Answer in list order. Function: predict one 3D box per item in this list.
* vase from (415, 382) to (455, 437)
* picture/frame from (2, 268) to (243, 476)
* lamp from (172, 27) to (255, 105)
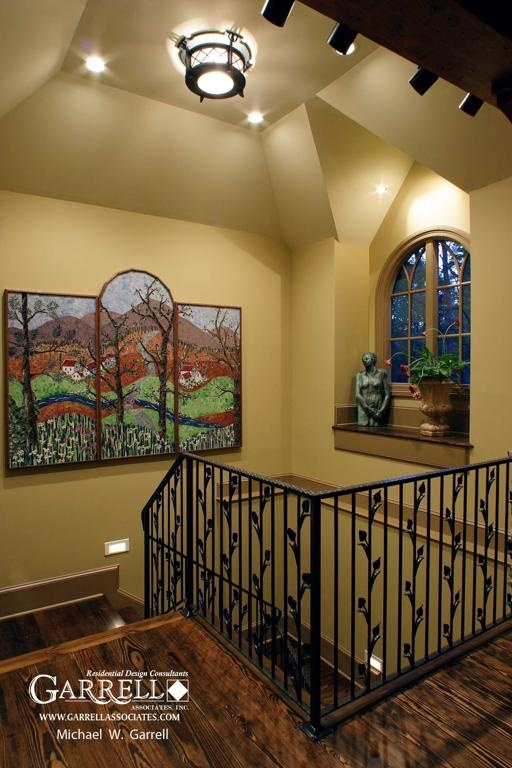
[{"bbox_3d":[1.476,0.203,4.209,0.297,0.446,0.324,1,0,-16],"label":"vase"},{"bbox_3d":[-1.195,-0.102,4.316,1.833,1.558,0.124,-1,1,-40],"label":"picture/frame"},{"bbox_3d":[-0.286,-1.969,3.122,0.476,0.354,0.371,-1,-1,23],"label":"lamp"}]
